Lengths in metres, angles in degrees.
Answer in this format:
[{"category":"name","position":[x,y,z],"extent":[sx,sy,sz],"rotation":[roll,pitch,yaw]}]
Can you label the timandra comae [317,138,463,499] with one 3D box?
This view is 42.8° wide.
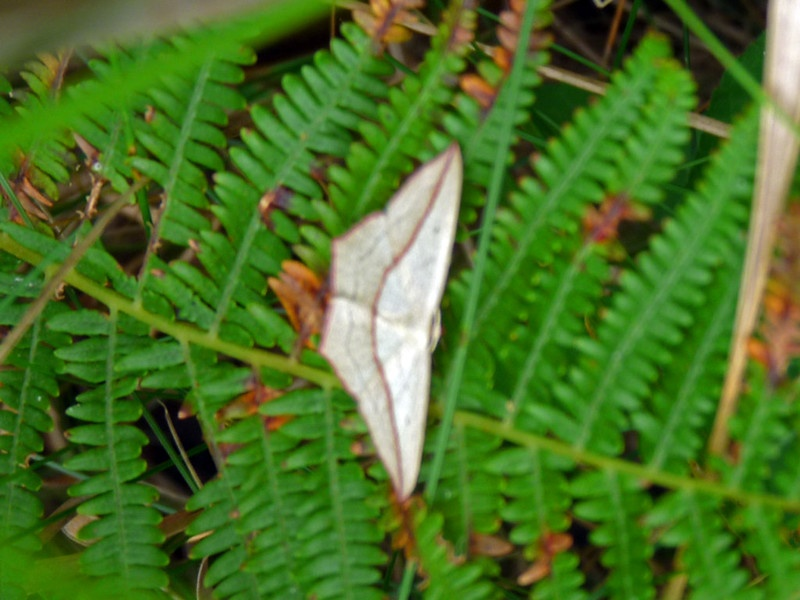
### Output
[{"category":"timandra comae","position":[0.002,0.033,1.985],"extent":[0.204,0.586,0.293],"rotation":[9,29,31]}]
